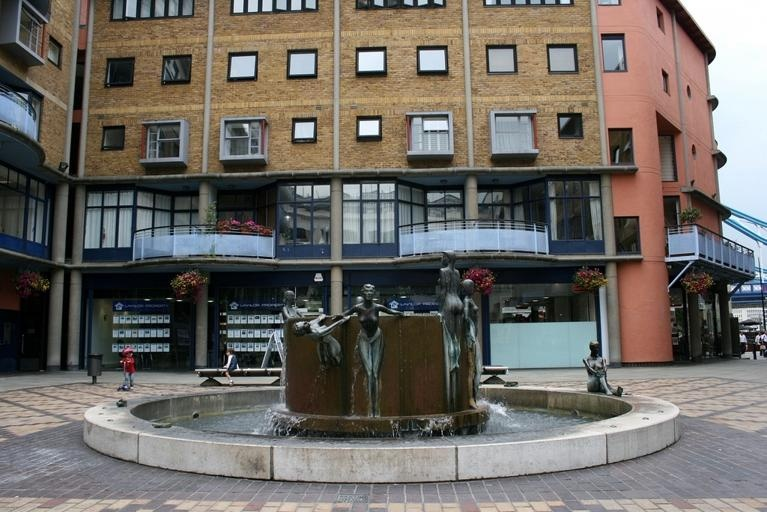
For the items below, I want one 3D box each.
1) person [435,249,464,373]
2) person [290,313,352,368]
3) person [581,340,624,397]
[{"bbox_3d":[1.776,1.422,18.717,0.609,2.943,1.177,-1,8,5],"label":"person"},{"bbox_3d":[-1.648,2.200,18.686,1.325,1.333,1.176,-9,-1,-11],"label":"person"},{"bbox_3d":[6.339,3.256,20.611,0.662,1.492,1.477,-1,-2,-12],"label":"person"}]
